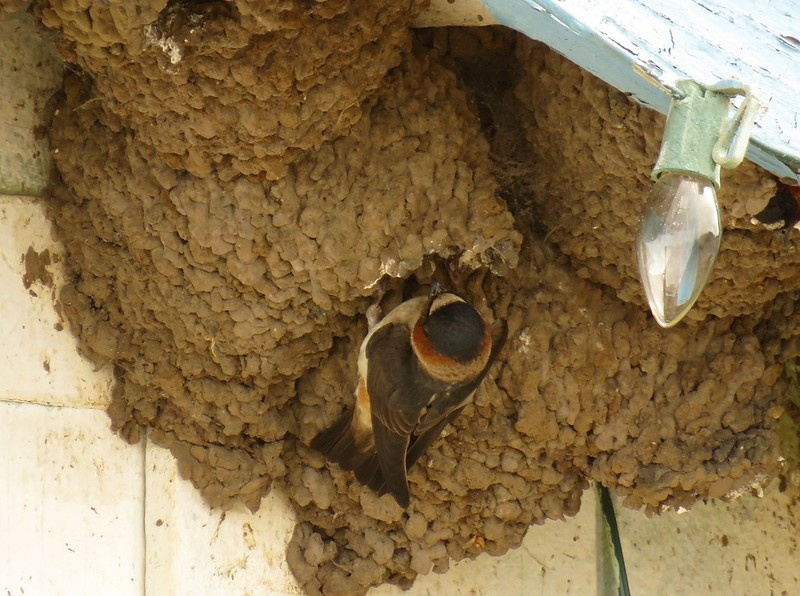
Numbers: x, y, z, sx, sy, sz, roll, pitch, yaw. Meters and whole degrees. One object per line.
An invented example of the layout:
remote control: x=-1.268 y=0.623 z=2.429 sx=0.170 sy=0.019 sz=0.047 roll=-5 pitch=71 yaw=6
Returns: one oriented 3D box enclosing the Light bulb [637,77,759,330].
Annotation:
Light bulb: x=0.830 y=-0.296 z=4.427 sx=0.327 sy=0.727 sz=0.306 roll=2 pitch=23 yaw=-2
